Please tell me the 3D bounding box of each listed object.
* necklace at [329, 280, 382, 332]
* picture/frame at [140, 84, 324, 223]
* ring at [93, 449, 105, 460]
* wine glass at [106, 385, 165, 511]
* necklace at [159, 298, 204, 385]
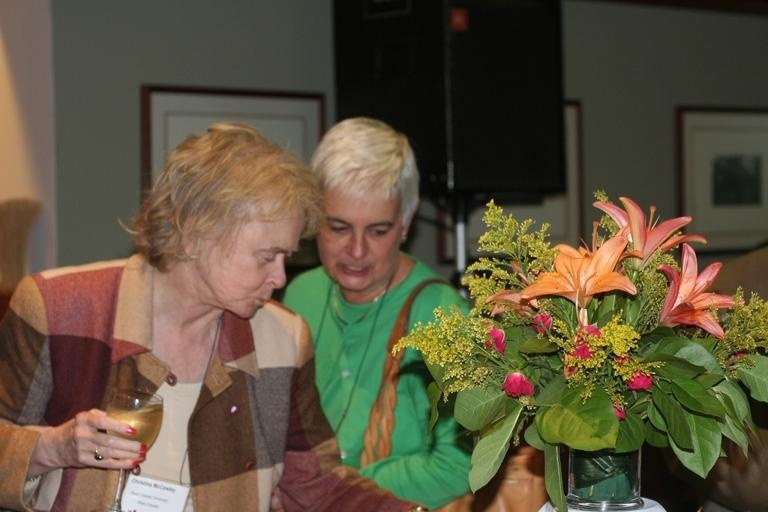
[{"bbox_3d":[-0.137,0.224,3.246,0.141,0.144,0.220,6,-45,11],"label":"necklace"},{"bbox_3d":[-0.635,-0.412,2.950,0.726,0.593,0.037,0,0,-8],"label":"picture/frame"},{"bbox_3d":[-0.856,0.596,2.269,0.023,0.033,0.033,2,-4,-2],"label":"ring"},{"bbox_3d":[-0.787,0.595,2.320,0.144,0.376,0.184,7,-6,-41],"label":"wine glass"},{"bbox_3d":[-0.691,0.260,2.581,0.156,0.214,0.263,-11,37,-24],"label":"necklace"}]
